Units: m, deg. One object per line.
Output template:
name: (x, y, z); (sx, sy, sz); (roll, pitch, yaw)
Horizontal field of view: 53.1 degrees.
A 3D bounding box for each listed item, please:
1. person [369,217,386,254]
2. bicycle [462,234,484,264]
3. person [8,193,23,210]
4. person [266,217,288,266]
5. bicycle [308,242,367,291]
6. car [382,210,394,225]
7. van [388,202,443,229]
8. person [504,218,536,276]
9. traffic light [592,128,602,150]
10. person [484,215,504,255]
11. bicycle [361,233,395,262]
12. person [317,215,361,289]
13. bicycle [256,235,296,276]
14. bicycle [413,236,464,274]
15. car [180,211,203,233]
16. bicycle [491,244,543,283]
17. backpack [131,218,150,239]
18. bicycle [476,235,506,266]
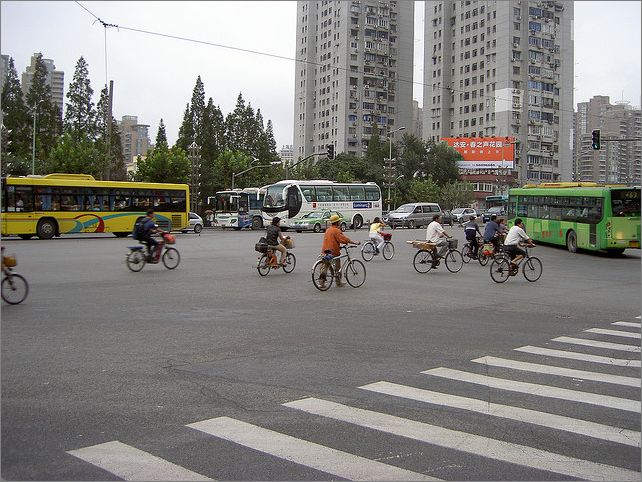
person: (2.082, -0.206, 24.113); (0.492, 1.398, 1.868); (1, 5, 6)
bicycle: (5.577, 0.419, 23.882); (0.653, 0.845, 1.350); (-2, -3, 32)
person: (-15.601, -1.982, 32.659); (0.584, 0.820, 0.810); (0, 4, -10)
person: (-1.378, 0.031, 19.003); (0.588, 1.501, 1.344); (1, 5, 5)
bicycle: (0.448, 0.703, 16.582); (1.747, 1.096, 0.745); (-2, -1, -36)
car: (5.803, -1.964, 56.487); (1.076, 1.215, 2.283); (-1, -9, 7)
van: (6.938, -2.012, 51.822); (3.953, 1.859, 2.364); (2, -4, -44)
person: (5.627, 0.185, 18.601); (0.664, 1.600, 0.465); (1, 4, -3)
traffic light: (14.783, -5.508, 34.591); (0.366, 1.012, 1.201); (2, 5, 20)
person: (5.915, -0.180, 22.077); (0.683, 1.399, 0.690); (-2, 5, 15)
bicycle: (2.223, 0.257, 24.542); (1.459, 0.915, 0.702); (-8, 12, -40)
person: (0.393, 0.287, 16.627); (0.741, 1.921, 1.189); (2, 5, 12)
bicycle: (-1.248, 0.430, 19.132); (1.654, 1.112, 0.731); (-5, -15, 41)
bicycle: (3.814, 0.443, 20.792); (1.935, 1.128, 0.835); (-1, 3, -25)
car: (-9.151, -1.248, 44.835); (1.730, 0.980, 1.034); (2, -1, -10)
bicycle: (5.560, 0.699, 19.009); (1.841, 1.126, 0.931); (-6, 9, -21)
backpack: (-5.470, -0.365, 19.739); (0.636, 0.725, 0.402); (0, 5, -15)
bicycle: (5.909, 0.352, 22.685); (0.742, 0.970, 1.581); (-2, 1, 32)
